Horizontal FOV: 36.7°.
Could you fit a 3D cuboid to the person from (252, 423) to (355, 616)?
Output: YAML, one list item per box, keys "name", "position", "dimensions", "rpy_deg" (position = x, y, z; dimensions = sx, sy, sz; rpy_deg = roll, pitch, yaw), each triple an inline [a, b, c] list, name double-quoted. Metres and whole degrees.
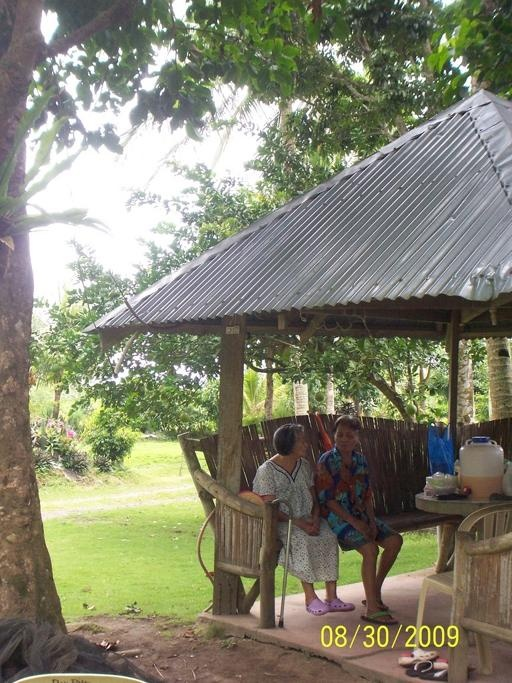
- name: "person"
  position: [0.362, 1.367, 5.870]
  dimensions: [0.716, 1.447, 0.542]
  rpy_deg: [2, -6, -9]

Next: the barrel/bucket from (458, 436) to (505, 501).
- name: "barrel/bucket"
  position: [1.652, 0.934, 5.685]
  dimensions: [0.329, 0.438, 0.426]
  rpy_deg: [-1, -6, 15]
